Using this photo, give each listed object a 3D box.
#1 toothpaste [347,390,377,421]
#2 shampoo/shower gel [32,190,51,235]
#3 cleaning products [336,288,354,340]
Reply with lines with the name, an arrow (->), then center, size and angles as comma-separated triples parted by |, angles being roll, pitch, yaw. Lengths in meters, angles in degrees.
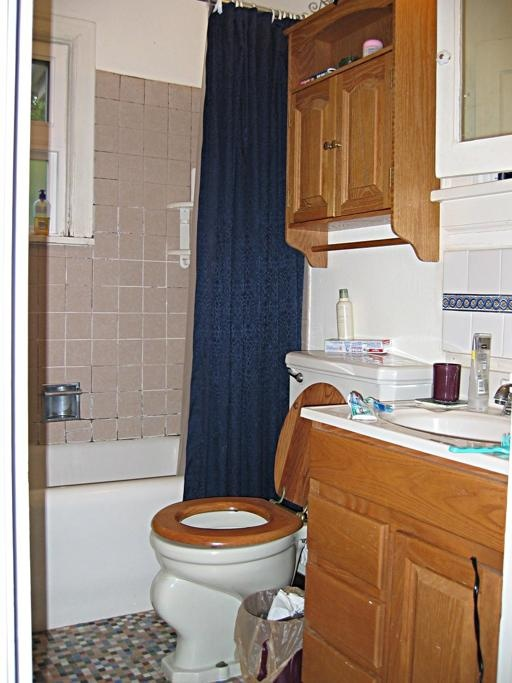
toothpaste -> 0.241, 0.154, 1.305 | 0.033, 0.031, 0.095 | -7, 34, -2
shampoo/shower gel -> -0.976, -0.580, 2.586 | 0.073, 0.217, 0.068 | -3, 3, -24
cleaning products -> 0.339, -0.105, 2.178 | 0.055, 0.184, 0.095 | -1, 3, 12
